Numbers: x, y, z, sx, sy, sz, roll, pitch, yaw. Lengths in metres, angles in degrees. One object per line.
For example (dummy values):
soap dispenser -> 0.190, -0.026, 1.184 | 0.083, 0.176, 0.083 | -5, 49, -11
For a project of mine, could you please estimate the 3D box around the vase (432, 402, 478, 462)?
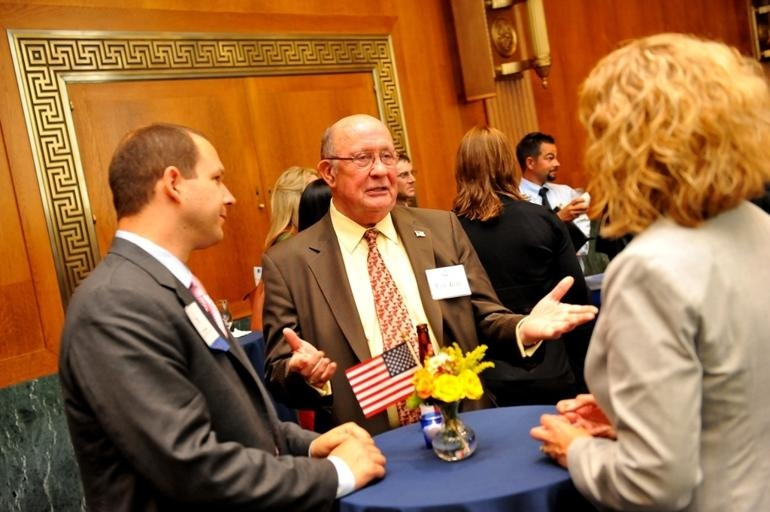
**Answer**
vase -> 0.250, 0.627, 2.263 | 0.145, 0.257, 0.156 | -22, -21, 36

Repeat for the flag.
flag -> -0.016, 0.494, 2.401 | 0.257, 0.248, 0.020 | -28, -9, -5

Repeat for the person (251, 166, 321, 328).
person -> -0.729, -0.040, 4.655 | 0.433, 1.556, 0.352 | -1, 32, -11
